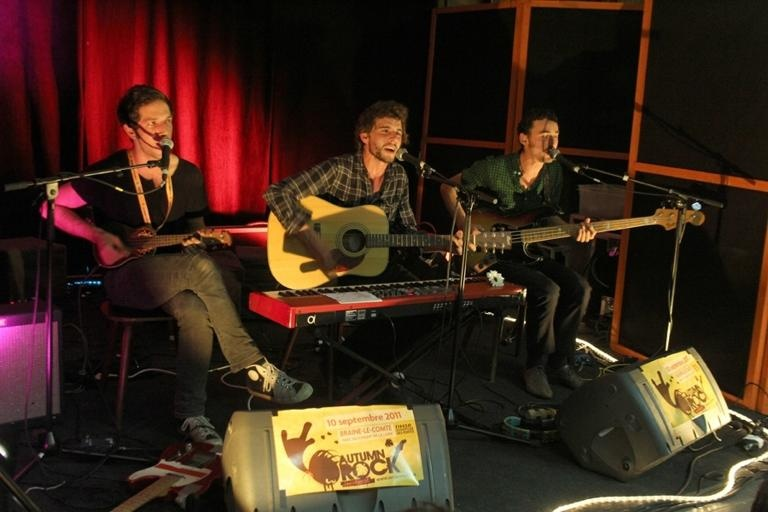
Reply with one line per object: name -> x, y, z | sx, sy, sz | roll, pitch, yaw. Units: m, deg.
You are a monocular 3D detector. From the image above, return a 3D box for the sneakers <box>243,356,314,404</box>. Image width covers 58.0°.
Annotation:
sneakers -> -0.630, 0.763, 4.298 | 0.489, 0.222, 0.200 | 6, 29, 9

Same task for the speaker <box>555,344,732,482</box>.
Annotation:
speaker -> 1.533, 0.927, 4.348 | 0.871, 0.632, 0.769 | -5, 21, -41

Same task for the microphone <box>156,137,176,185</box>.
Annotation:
microphone -> -1.240, -0.592, 4.043 | 0.112, 0.368, 0.099 | 10, -27, -25

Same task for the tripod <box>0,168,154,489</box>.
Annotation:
tripod -> -1.792, 0.302, 4.162 | 0.677, 1.684, 1.016 | -2, 18, -8

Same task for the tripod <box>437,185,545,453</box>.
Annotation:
tripod -> 0.768, 0.436, 4.884 | 0.882, 1.611, 1.142 | -7, 27, -6

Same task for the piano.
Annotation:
piano -> 0.034, 0.314, 4.427 | 1.705, 0.313, 0.346 | -5, 19, -20
